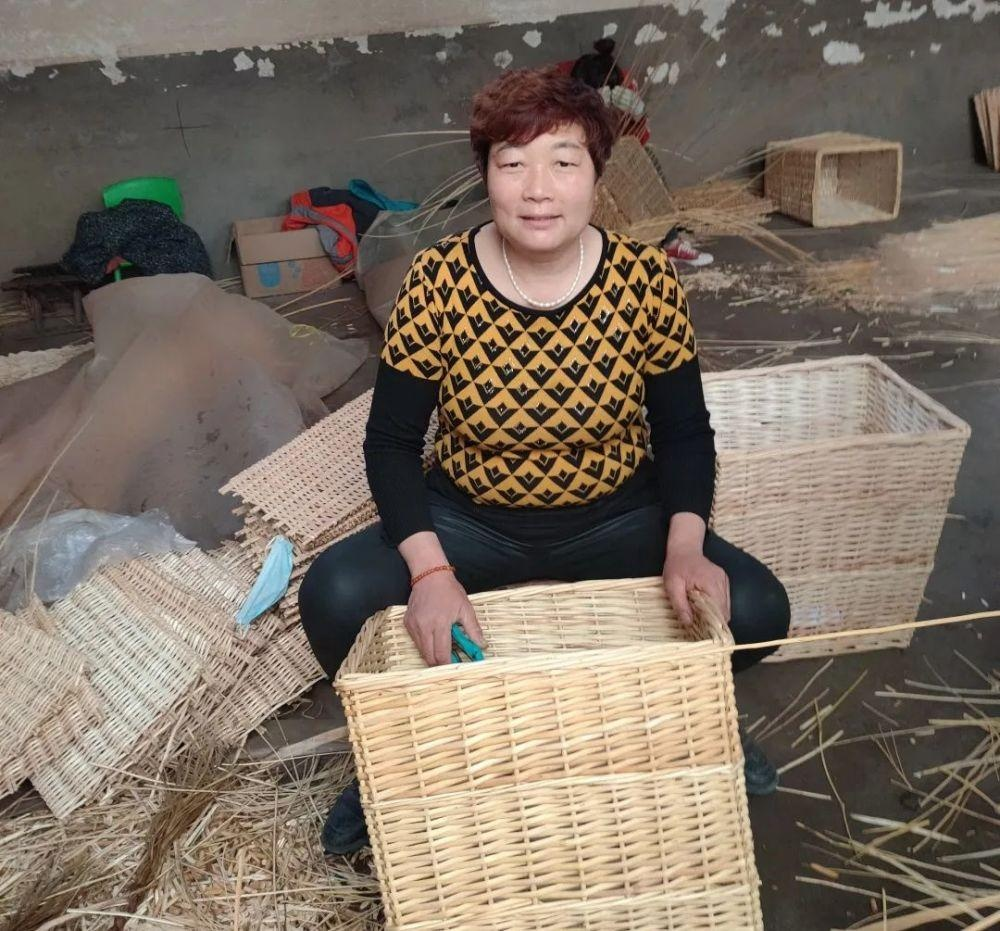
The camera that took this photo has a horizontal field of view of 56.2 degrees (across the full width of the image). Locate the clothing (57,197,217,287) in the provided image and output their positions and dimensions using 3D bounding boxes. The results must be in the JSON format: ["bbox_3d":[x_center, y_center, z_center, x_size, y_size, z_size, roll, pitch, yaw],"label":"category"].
[{"bbox_3d":[-1.987,-1.177,4.964,0.715,0.429,0.419,-3,25,14],"label":"clothing"}]

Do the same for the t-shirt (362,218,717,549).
[{"bbox_3d":[0.070,-0.149,1.760,0.680,0.438,0.352,-1,14,-5],"label":"t-shirt"}]

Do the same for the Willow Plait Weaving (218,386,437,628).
[{"bbox_3d":[-0.396,0.099,2.250,0.459,0.184,0.615,-1,25,36],"label":"Willow Plait Weaving"}]
